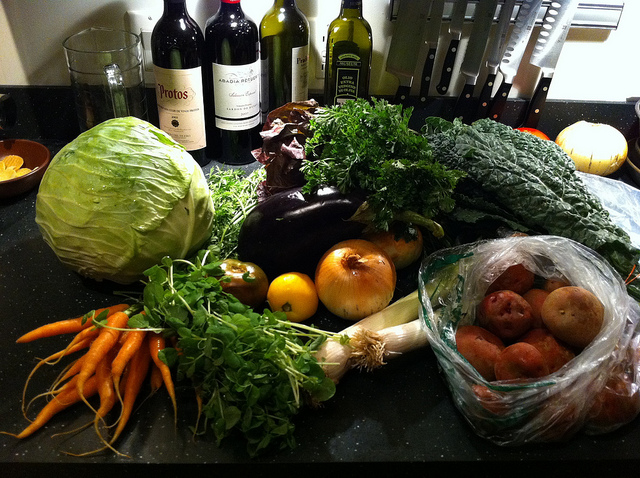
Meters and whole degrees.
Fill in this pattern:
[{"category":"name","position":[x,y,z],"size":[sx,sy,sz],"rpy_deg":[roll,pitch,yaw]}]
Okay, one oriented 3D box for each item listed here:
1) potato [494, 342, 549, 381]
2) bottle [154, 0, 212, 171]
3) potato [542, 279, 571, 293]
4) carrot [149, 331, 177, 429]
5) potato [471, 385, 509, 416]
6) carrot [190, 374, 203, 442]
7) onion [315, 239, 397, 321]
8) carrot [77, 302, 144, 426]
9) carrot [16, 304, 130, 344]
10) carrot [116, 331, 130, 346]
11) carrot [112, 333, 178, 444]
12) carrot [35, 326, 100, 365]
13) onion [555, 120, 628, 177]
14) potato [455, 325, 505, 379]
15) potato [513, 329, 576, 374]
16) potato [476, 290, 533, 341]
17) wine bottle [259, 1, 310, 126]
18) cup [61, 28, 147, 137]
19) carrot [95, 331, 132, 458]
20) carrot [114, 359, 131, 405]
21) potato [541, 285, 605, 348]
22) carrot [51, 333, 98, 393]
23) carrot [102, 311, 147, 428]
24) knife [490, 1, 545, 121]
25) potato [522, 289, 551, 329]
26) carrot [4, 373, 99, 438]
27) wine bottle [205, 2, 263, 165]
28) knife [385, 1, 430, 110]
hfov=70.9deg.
[{"category":"potato","position":[0.354,0.221,0.783],"size":[0.088,0.063,0.053],"rpy_deg":[7,38,3]},{"category":"bottle","position":[-0.361,-0.389,1.181],"size":[0.139,0.421,0.110],"rpy_deg":[-7,38,-14]},{"category":"potato","position":[0.463,0.090,0.876],"size":[0.025,0.032,0.028],"rpy_deg":[0,56,-9]},{"category":"carrot","position":[-0.285,0.261,0.813],"size":[0.030,0.029,0.158],"rpy_deg":[-14,82,-2]},{"category":"potato","position":[0.289,0.272,0.762],"size":[0.066,0.034,0.020],"rpy_deg":[21,41,19]},{"category":"carrot","position":[-0.210,0.289,0.789],"size":[0.020,0.121,0.022],"rpy_deg":[-2,-8,27]},{"category":"onion","position":[0.078,0.080,0.987],"size":[0.151,0.152,0.151],"rpy_deg":[-35,56,-12]},{"category":"carrot","position":[-0.378,0.219,0.841],"size":[0.037,0.045,0.234],"rpy_deg":[19,52,-2]},{"category":"carrot","position":[-0.474,0.170,0.874],"size":[0.226,0.044,0.044],"rpy_deg":[-12,0,-3]},{"category":"carrot","position":[-0.373,0.187,0.852],"size":[0.019,0.033,0.008],"rpy_deg":[34,16,3]},{"category":"carrot","position":[-0.306,0.275,0.782],"size":[0.126,0.032,0.182],"rpy_deg":[-21,31,-21]},{"category":"carrot","position":[-0.474,0.201,0.845],"size":[0.096,0.027,0.027],"rpy_deg":[-34,89,-15]},{"category":"onion","position":[0.777,-0.267,1.279],"size":[0.168,0.127,0.172],"rpy_deg":[-21,39,-23]},{"category":"potato","position":[0.287,0.201,0.819],"size":[0.088,0.049,0.071],"rpy_deg":[30,8,0]},{"category":"potato","position":[0.401,0.194,0.810],"size":[0.076,0.044,0.081],"rpy_deg":[7,30,5]},{"category":"potato","position":[0.339,0.144,0.837],"size":[0.073,0.099,0.083],"rpy_deg":[3,81,-17]},{"category":"wine bottle","position":[-0.100,-0.478,1.246],"size":[0.134,0.318,0.095],"rpy_deg":[0,37,-4]},{"category":"cup","position":[-0.568,-0.390,1.237],"size":[0.171,0.284,0.277],"rpy_deg":[-19,51,-32]},{"category":"carrot","position":[-0.378,0.260,0.797],"size":[0.043,0.068,0.188],"rpy_deg":[-1,40,-5]},{"category":"carrot","position":[-0.359,0.260,0.825],"size":[0.014,0.014,0.081],"rpy_deg":[24,77,-21]},{"category":"potato","position":[0.450,0.133,0.841],"size":[0.102,0.058,0.102],"rpy_deg":[-28,67,-10]},{"category":"carrot","position":[-0.446,0.230,0.820],"size":[0.021,0.027,0.115],"rpy_deg":[38,53,-9]},{"category":"carrot","position":[-0.345,0.234,0.841],"size":[0.038,0.045,0.213],"rpy_deg":[32,52,-25]},{"category":"knife","position":[0.541,-0.503,1.275],"size":[0.054,0.300,0.096],"rpy_deg":[18,39,20]},{"category":"potato","position":[0.410,0.129,0.864],"size":[0.057,0.063,0.061],"rpy_deg":[0,7,24]},{"category":"carrot","position":[-0.467,0.296,0.784],"size":[0.138,0.032,0.024],"rpy_deg":[-41,32,-27]},{"category":"wine bottle","position":[-0.228,-0.432,1.191],"size":[0.120,0.533,0.123],"rpy_deg":[1,39,0]},{"category":"knife","position":[0.236,-0.517,1.269],"size":[0.091,0.279,0.078],"rpy_deg":[11,37,10]}]
